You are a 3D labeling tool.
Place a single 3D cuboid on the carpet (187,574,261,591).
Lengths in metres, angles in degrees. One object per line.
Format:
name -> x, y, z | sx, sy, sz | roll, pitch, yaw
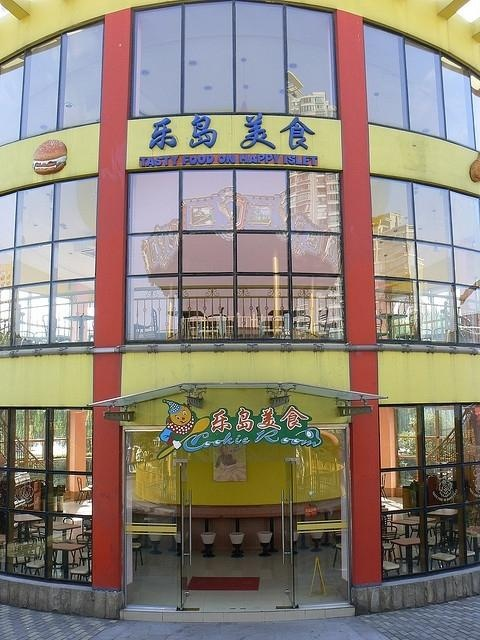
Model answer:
carpet -> -0.299, 5.127, 13.323 | 1.333, 0.096, 1.204 | -1, -4, 1
